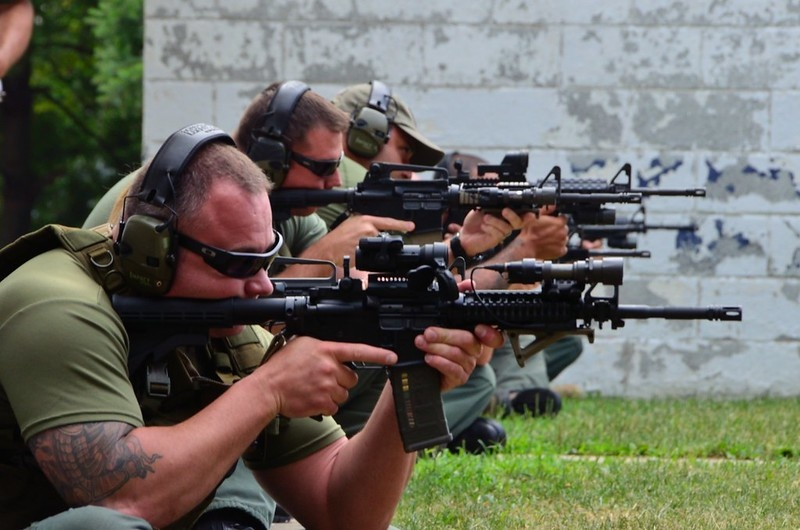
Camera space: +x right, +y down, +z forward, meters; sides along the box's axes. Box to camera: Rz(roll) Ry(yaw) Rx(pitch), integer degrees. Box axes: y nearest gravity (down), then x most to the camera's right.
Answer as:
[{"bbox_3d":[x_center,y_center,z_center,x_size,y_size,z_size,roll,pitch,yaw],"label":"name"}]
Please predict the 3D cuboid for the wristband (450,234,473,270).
[{"bbox_3d":[0.528,-0.081,10.459,0.117,0.281,0.204,-14,-30,21],"label":"wristband"}]

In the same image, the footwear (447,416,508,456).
[{"bbox_3d":[0.621,1.385,10.300,0.323,0.127,0.331,-20,1,22],"label":"footwear"}]
